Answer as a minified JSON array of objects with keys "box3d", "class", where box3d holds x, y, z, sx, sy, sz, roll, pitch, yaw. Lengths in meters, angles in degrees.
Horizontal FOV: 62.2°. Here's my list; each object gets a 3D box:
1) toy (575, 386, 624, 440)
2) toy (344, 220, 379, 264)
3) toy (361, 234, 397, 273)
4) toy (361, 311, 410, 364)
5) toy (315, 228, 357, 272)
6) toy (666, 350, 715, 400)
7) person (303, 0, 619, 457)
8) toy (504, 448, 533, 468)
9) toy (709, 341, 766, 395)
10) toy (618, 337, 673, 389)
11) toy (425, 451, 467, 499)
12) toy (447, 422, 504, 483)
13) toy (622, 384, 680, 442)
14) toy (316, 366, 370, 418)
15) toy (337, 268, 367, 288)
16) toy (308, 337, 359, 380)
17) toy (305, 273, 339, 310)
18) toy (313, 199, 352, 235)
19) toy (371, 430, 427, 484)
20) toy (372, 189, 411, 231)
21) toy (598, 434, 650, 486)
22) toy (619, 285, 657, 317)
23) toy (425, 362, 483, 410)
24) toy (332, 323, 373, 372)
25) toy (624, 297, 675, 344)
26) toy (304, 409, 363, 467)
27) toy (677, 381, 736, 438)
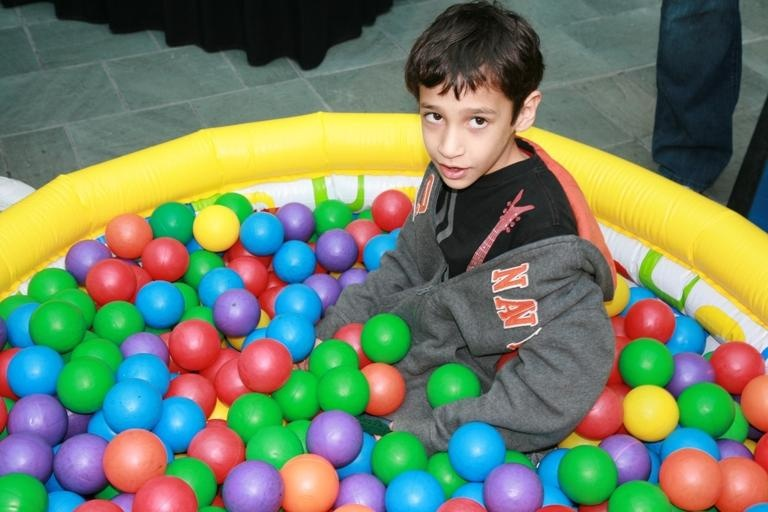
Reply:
[{"box3d":[0.807,0.563,2.330,0.161,0.170,0.208,4,96,2],"class":"toy"},{"box3d":[-0.080,-0.055,3.014,0.148,0.180,0.144,-23,31,-35],"class":"toy"},{"box3d":[-0.013,-0.038,2.904,0.145,0.151,0.184,21,102,0],"class":"toy"},{"box3d":[0.008,0.332,2.488,0.184,0.196,0.232,-8,87,5],"class":"toy"},{"box3d":[-0.185,-0.022,2.912,0.170,0.210,0.179,1,52,9],"class":"toy"},{"box3d":[1.156,0.446,2.458,0.151,0.187,0.160,-1,57,10],"class":"toy"},{"box3d":[0.337,-0.033,2.233,0.876,1.057,1.214,-18,56,-13],"class":"person"},{"box3d":[0.469,0.697,2.196,0.077,0.061,0.060,23,39,9],"class":"toy"},{"box3d":[1.324,0.434,2.437,0.183,0.222,0.197,-6,75,23],"class":"toy"},{"box3d":[1.015,0.433,2.458,0.194,0.206,0.247,-6,86,28],"class":"toy"},{"box3d":[0.219,0.759,2.217,0.122,0.151,0.133,-6,93,1],"class":"toy"},{"box3d":[0.318,0.679,2.226,0.180,0.219,0.189,-14,59,17],"class":"toy"},{"box3d":[0.990,0.538,2.334,0.212,0.193,0.203,4,90,27],"class":"toy"},{"box3d":[-0.130,0.494,2.357,0.163,0.201,0.172,-6,54,8],"class":"toy"},{"box3d":[-0.134,0.096,2.916,0.108,0.096,0.091,-32,68,19],"class":"toy"},{"box3d":[-0.222,0.410,2.457,0.129,0.134,0.160,13,74,1],"class":"toy"},{"box3d":[-0.243,0.139,2.789,0.138,0.171,0.144,-9,48,9],"class":"toy"},{"box3d":[-0.244,-0.190,3.092,0.174,0.160,0.157,-23,66,5],"class":"toy"},{"box3d":[0.049,0.682,2.251,0.163,0.202,0.168,-9,41,1],"class":"toy"},{"box3d":[0.041,-0.215,3.086,0.176,0.216,0.185,6,48,-3],"class":"toy"},{"box3d":[0.875,0.715,2.246,0.144,0.178,0.144,-8,17,-15],"class":"toy"},{"box3d":[1.089,0.176,2.745,0.128,0.135,0.163,3,100,12],"class":"toy"},{"box3d":[0.253,0.469,2.385,0.158,0.188,0.166,-19,65,33],"class":"toy"},{"box3d":[-0.106,0.360,2.509,0.145,0.152,0.187,2,86,9],"class":"toy"},{"box3d":[1.094,0.253,2.633,0.193,0.242,0.206,-4,15,20],"class":"toy"},{"box3d":[-0.164,0.617,2.256,0.178,0.218,0.182,-20,42,4],"class":"toy"},{"box3d":[1.206,0.572,2.363,0.179,0.223,0.186,-8,11,13],"class":"toy"}]
